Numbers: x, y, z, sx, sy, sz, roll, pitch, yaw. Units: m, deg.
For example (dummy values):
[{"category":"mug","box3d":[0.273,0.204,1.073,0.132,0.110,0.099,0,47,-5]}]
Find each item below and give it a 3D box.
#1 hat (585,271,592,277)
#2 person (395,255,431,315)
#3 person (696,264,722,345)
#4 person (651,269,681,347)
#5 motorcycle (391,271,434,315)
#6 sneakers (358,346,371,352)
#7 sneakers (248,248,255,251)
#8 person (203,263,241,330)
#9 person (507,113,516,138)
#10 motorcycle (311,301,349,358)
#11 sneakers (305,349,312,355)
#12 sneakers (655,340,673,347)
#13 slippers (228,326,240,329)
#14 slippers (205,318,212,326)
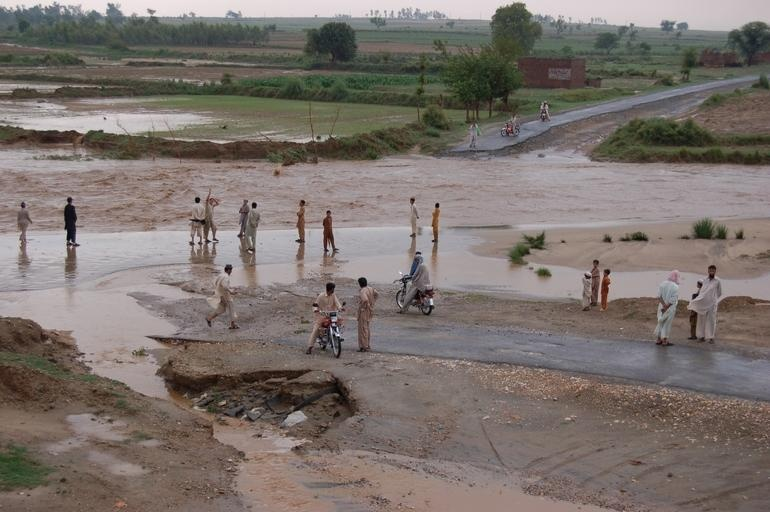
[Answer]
[{"category":"hat","box3d":[7.063,0.668,31.777,0.255,0.086,0.235,3,9,7]},{"category":"person","box3d":[1.078,0.954,31.135,1.259,2.174,0.600,10,14,38]},{"category":"person","box3d":[10.359,1.467,29.153,0.627,2.422,1.480,8,12,26]},{"category":"person","box3d":[8.871,1.603,28.800,0.578,2.353,1.159,5,11,16]},{"category":"motorcycle","box3d":[1.135,1.369,31.684,1.044,0.990,1.826,-13,24,-42]},{"category":"sneakers","box3d":[-0.646,2.933,28.306,0.457,0.149,0.144,-1,-1,1]},{"category":"sneakers","box3d":[-5.535,-0.272,37.992,0.290,0.155,0.231,-1,9,-13]},{"category":"person","box3d":[-5.381,1.325,30.268,0.991,2.157,1.271,0,11,-9]},{"category":"person","box3d":[10.035,-10.257,71.128,0.801,1.720,1.376,3,10,7]},{"category":"motorcycle","box3d":[-1.684,2.385,28.134,0.552,1.349,1.229,-5,12,-31]},{"category":"sneakers","box3d":[-2.353,3.002,28.137,0.213,0.179,0.500,1,-3,2]},{"category":"sneakers","box3d":[8.725,2.775,28.585,0.471,0.142,0.183,-3,16,-2]},{"category":"slippers","box3d":[-4.977,2.374,30.159,0.302,0.122,0.319,-1,8,-12]},{"category":"slippers","box3d":[-5.817,2.230,30.222,0.159,0.276,0.103,3,13,7]}]
